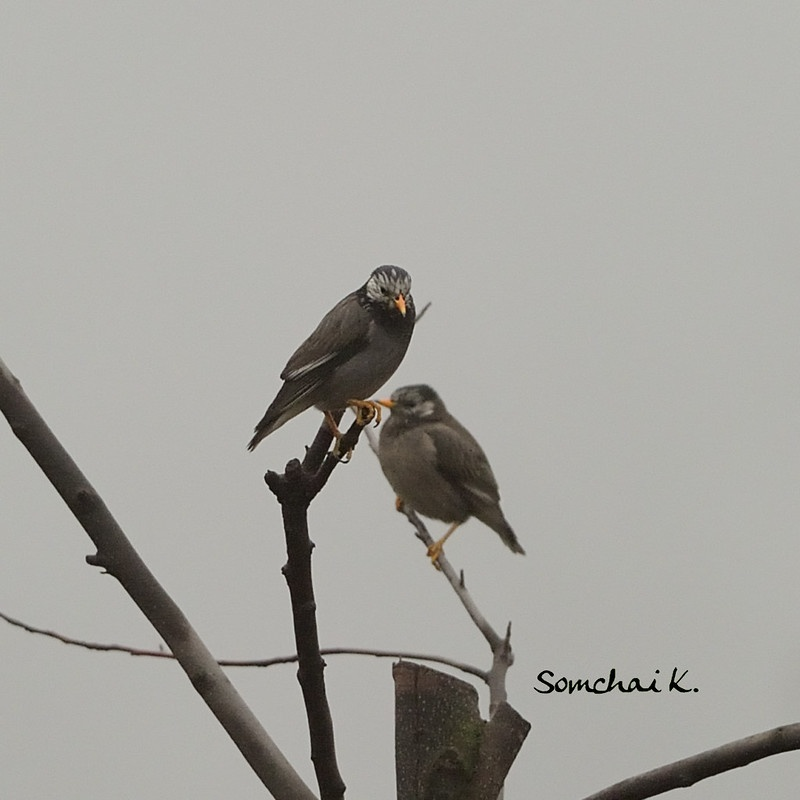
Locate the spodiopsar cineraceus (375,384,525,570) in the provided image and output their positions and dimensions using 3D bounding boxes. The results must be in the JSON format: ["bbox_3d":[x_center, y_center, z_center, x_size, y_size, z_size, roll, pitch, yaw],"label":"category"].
[{"bbox_3d":[0.179,0.225,6.051,0.613,0.389,0.647,0,-79,-18],"label":"spodiopsar cineraceus"}]
